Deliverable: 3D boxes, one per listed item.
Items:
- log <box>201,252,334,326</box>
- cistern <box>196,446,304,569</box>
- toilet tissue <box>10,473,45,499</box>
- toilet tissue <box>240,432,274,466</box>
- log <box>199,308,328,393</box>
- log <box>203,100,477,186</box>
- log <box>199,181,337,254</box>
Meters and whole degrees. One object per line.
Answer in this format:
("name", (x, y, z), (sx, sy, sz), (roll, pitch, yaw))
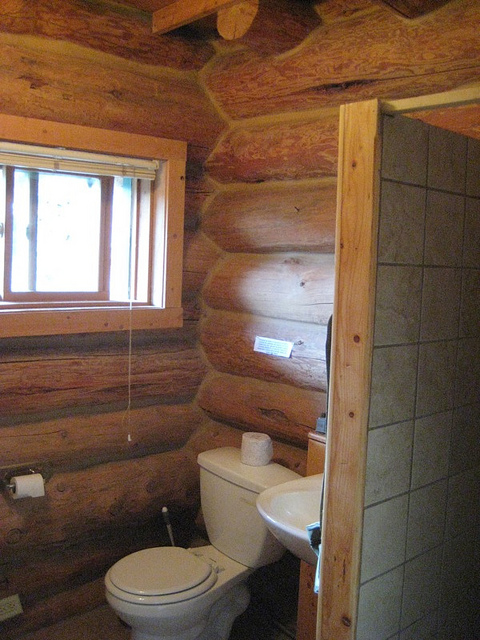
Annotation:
("log", (0.124, -0.162, 2.418), (0.092, 0.332, 0.873), (-6, 7, -35))
("cistern", (0.037, 0.893, 2.404), (0.346, 0.422, 0.529), (4, 3, -43))
("toilet tissue", (-0.879, 0.688, 2.131), (0.138, 0.111, 0.094), (0, -3, -41))
("toilet tissue", (0.075, 0.591, 2.328), (0.142, 0.111, 0.131), (7, -2, -2))
("log", (0.132, 0.186, 2.530), (0.153, 0.302, 0.925), (-11, 10, -38))
("log", (0.295, -0.568, 1.638), (0.149, 0.168, 0.866), (10, -2, -39))
("log", (0.137, -0.470, 2.365), (0.094, 0.340, 0.866), (-6, 8, -38))
